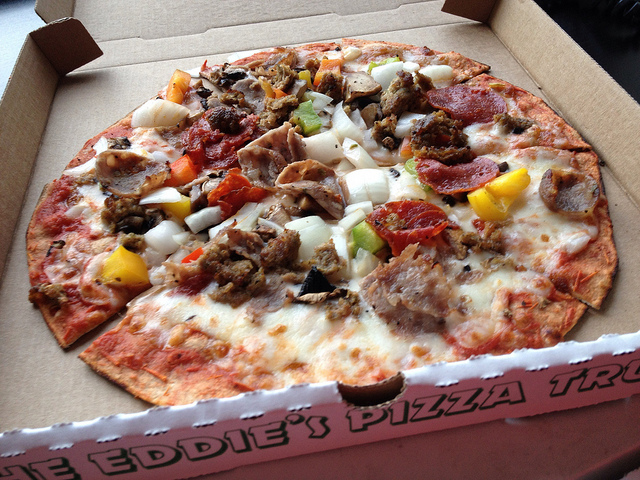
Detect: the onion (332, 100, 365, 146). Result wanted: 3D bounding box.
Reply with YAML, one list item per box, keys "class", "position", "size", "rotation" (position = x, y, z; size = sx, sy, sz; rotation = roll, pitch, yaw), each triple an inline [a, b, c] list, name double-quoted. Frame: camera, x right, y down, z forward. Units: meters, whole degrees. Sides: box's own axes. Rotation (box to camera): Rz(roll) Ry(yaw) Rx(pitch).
- class: "onion"
  position: [0.124, -0.588, 2.881]
  size: [0.221, 0.089, 0.199]
  rotation: [8, 51, -20]

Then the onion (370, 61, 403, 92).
- class: "onion"
  position: [0.371, -0.908, 3.086]
  size: [0.238, 0.072, 0.168]
  rotation: [-13, 53, 15]

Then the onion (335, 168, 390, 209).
- class: "onion"
  position: [0.194, -0.248, 2.583]
  size: [0.232, 0.109, 0.204]
  rotation: [-7, 38, 1]

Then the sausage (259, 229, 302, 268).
- class: "sausage"
  position: [-0.166, 0.043, 2.370]
  size: [0.139, 0.109, 0.177]
  rotation: [15, 56, 12]

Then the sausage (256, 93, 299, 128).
- class: "sausage"
  position: [-0.231, -0.652, 2.867]
  size: [0.240, 0.058, 0.179]
  rotation: [0, 47, 24]

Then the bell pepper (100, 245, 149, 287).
- class: "bell pepper"
  position: [-0.856, 0.125, 2.427]
  size: [0.189, 0.115, 0.178]
  rotation: [-22, 57, -14]

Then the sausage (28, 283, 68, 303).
- class: "sausage"
  position: [-1.153, 0.225, 2.407]
  size: [0.171, 0.057, 0.100]
  rotation: [3, 54, 4]

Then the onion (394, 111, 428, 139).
- class: "onion"
  position: [0.440, -0.583, 2.805]
  size: [0.172, 0.042, 0.142]
  rotation: [5, 53, 43]

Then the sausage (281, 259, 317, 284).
- class: "sausage"
  position: [-0.090, 0.136, 2.358]
  size: [0.144, 0.029, 0.109]
  rotation: [-1, 32, 18]

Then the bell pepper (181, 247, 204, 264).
- class: "bell pepper"
  position: [-0.548, 0.068, 2.418]
  size: [0.098, 0.023, 0.054]
  rotation: [-32, 14, 7]

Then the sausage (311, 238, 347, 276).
- class: "sausage"
  position: [0.034, 0.083, 2.341]
  size: [0.155, 0.038, 0.144]
  rotation: [-39, 75, -11]

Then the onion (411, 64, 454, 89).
- class: "onion"
  position: [0.658, -0.913, 3.115]
  size: [0.215, 0.063, 0.204]
  rotation: [-2, 31, 8]

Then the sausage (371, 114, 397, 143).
- class: "sausage"
  position: [0.315, -0.546, 2.773]
  size: [0.122, 0.142, 0.054]
  rotation: [37, 22, 0]

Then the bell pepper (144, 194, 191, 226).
- class: "bell pepper"
  position: [-0.669, -0.141, 2.592]
  size: [0.316, 0.181, 0.119]
  rotation: [4, 101, 11]

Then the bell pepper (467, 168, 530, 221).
- class: "bell pepper"
  position: [0.770, -0.208, 2.467]
  size: [0.202, 0.135, 0.262]
  rotation: [23, 57, 16]

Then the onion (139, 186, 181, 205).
- class: "onion"
  position: [-0.742, -0.201, 2.591]
  size: [0.135, 0.027, 0.100]
  rotation: [6, 41, 7]

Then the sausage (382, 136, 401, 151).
- class: "sausage"
  position: [0.346, -0.474, 2.763]
  size: [0.102, 0.028, 0.080]
  rotation: [17, 44, 5]

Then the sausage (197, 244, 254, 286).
- class: "sausage"
  position: [-0.392, 0.109, 2.349]
  size: [0.224, 0.085, 0.155]
  rotation: [30, 60, 22]

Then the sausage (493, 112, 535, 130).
- class: "sausage"
  position: [0.950, -0.580, 2.750]
  size: [0.160, 0.039, 0.075]
  rotation: [20, 73, 13]
